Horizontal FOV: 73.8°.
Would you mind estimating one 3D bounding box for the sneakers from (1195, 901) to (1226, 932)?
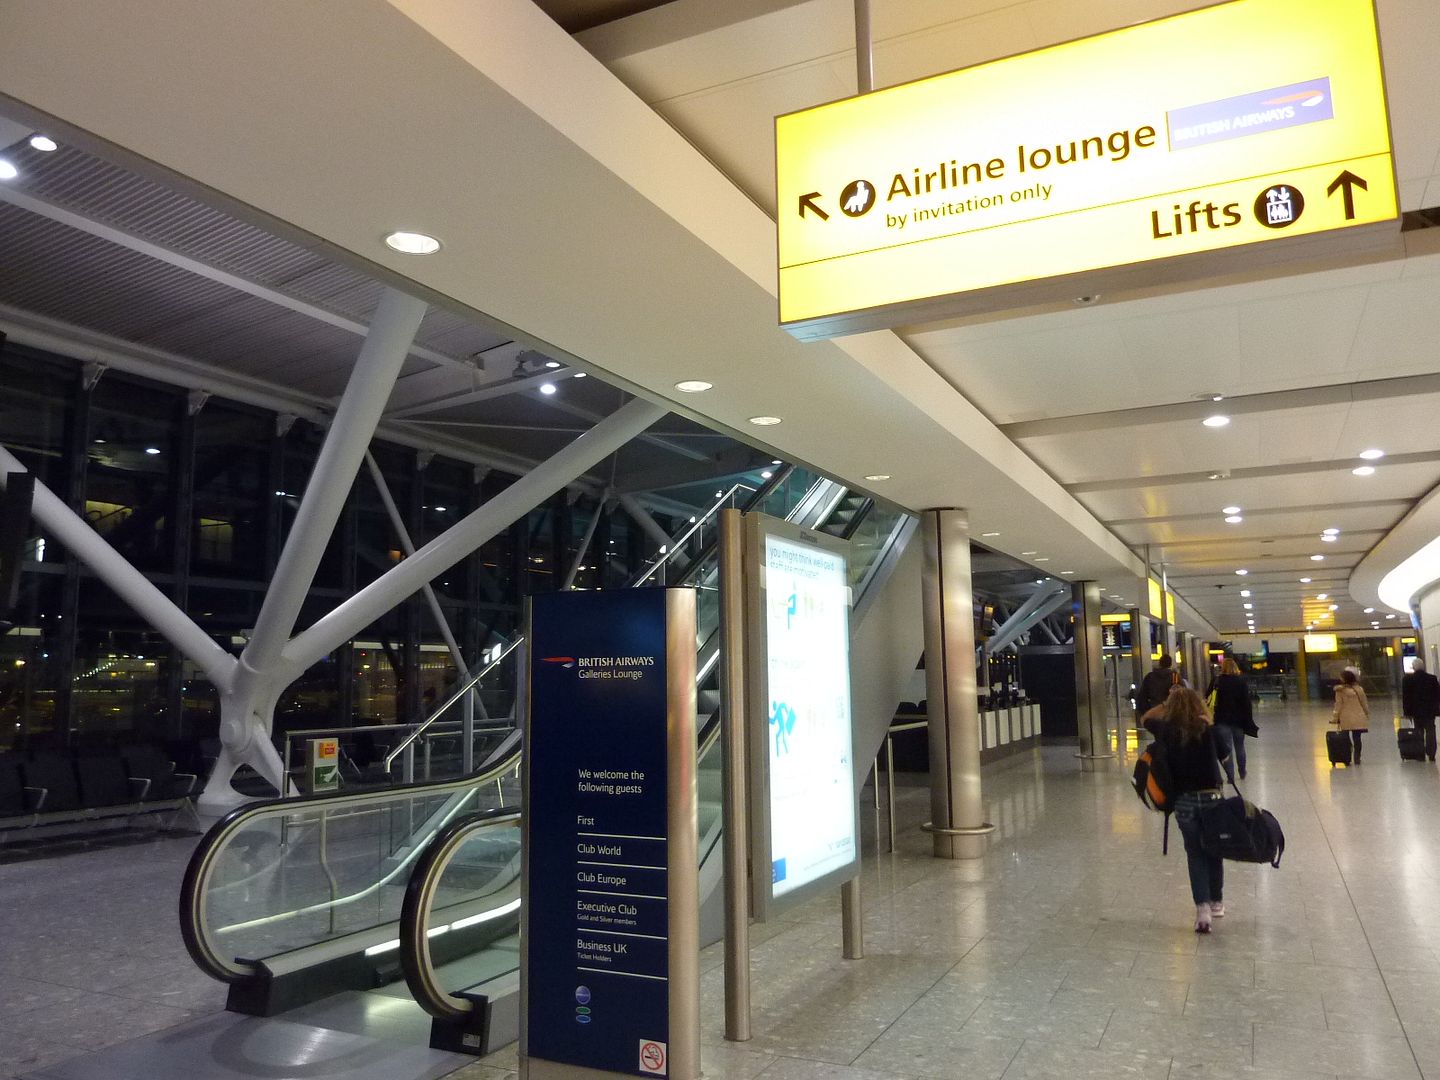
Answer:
[{"bbox_3d":[3.606,2.765,7.036,0.142,0.195,0.453,0,3,19],"label":"sneakers"}]

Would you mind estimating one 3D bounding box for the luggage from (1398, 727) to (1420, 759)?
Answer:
[{"bbox_3d":[13.181,3.947,18.310,0.276,0.628,0.531,-6,-4,22],"label":"luggage"}]

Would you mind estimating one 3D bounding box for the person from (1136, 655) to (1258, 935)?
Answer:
[{"bbox_3d":[3.610,2.035,7.417,0.674,1.624,1.215,-6,-4,26],"label":"person"}]

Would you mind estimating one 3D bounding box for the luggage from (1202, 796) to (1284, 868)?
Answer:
[{"bbox_3d":[3.787,2.132,6.942,0.578,0.569,0.452,-8,-12,33],"label":"luggage"}]

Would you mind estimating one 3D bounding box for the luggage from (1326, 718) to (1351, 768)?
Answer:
[{"bbox_3d":[11.226,3.758,17.345,0.381,0.726,0.951,-7,-4,32],"label":"luggage"}]
